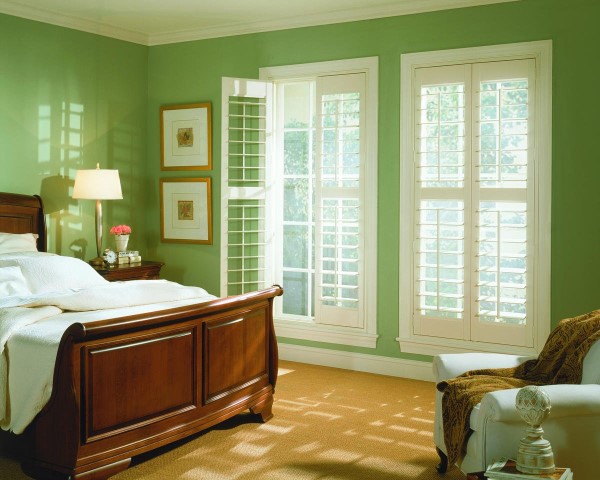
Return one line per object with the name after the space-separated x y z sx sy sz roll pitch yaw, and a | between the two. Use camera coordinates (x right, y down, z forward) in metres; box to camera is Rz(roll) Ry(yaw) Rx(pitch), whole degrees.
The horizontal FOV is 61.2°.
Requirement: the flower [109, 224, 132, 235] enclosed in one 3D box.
-1.686 -0.116 4.812 0.161 0.070 0.158 -2 5 -7 | flower

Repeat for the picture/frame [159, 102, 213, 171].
-1.134 -1.048 5.159 0.781 0.707 0.058 3 7 28 | picture/frame

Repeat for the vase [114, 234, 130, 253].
-1.665 0.039 4.814 0.182 0.174 0.177 0 -2 4 | vase

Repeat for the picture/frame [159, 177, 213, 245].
-1.140 -0.300 5.187 0.737 0.680 0.054 3 8 28 | picture/frame
